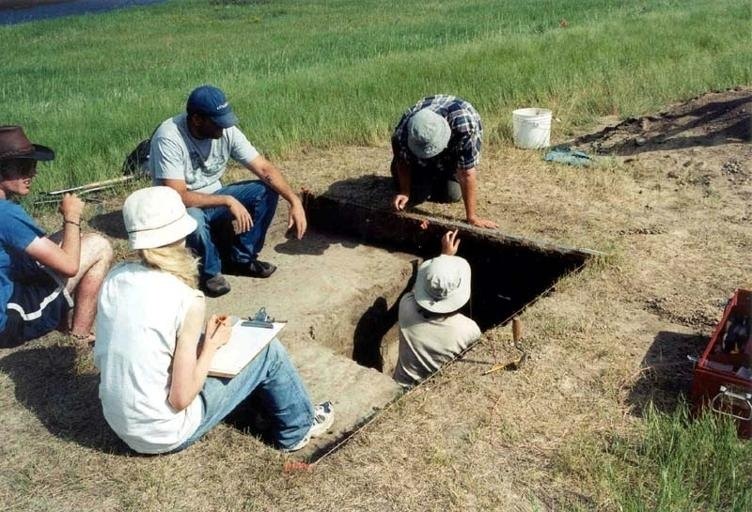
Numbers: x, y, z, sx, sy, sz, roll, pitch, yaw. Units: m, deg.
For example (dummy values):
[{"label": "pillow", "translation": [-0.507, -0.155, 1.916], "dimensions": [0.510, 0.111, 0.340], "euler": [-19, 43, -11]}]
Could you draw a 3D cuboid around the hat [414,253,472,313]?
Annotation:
[{"label": "hat", "translation": [0.580, 0.321, 6.707], "dimensions": [0.328, 0.156, 0.436], "euler": [15, 17, -14]}]

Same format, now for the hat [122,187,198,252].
[{"label": "hat", "translation": [-1.594, -0.255, 5.285], "dimensions": [0.404, 0.281, 0.486], "euler": [-31, 26, -34]}]

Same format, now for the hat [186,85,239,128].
[{"label": "hat", "translation": [-1.663, -1.421, 6.985], "dimensions": [0.572, 0.362, 0.421], "euler": [4, -3, -9]}]

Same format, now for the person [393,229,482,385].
[{"label": "person", "translation": [0.597, 0.736, 7.307], "dimensions": [0.683, 1.909, 1.163], "euler": [7, 37, 1]}]

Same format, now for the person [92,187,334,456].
[{"label": "person", "translation": [-1.410, 0.672, 5.537], "dimensions": [1.473, 2.187, 0.702], "euler": [-17, 30, -21]}]

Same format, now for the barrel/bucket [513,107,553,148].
[{"label": "barrel/bucket", "translation": [2.211, -1.775, 10.130], "dimensions": [0.506, 0.517, 0.548], "euler": [0, 15, 0]}]

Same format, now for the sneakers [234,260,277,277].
[{"label": "sneakers", "translation": [-1.316, 0.141, 7.917], "dimensions": [0.418, 0.216, 0.198], "euler": [-2, 23, 4]}]

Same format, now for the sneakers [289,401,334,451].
[{"label": "sneakers", "translation": [-0.479, 1.407, 6.046], "dimensions": [0.189, 0.245, 0.515], "euler": [23, 53, 24]}]

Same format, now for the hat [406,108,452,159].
[{"label": "hat", "translation": [0.557, -1.276, 7.436], "dimensions": [0.461, 0.450, 0.331], "euler": [-3, 28, 3]}]
